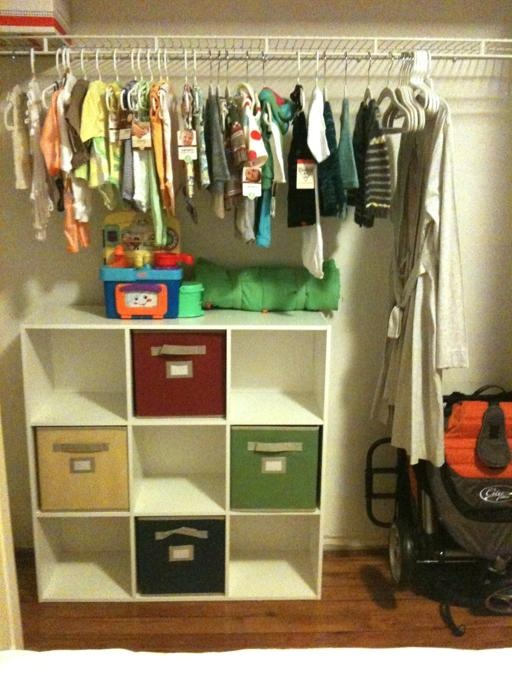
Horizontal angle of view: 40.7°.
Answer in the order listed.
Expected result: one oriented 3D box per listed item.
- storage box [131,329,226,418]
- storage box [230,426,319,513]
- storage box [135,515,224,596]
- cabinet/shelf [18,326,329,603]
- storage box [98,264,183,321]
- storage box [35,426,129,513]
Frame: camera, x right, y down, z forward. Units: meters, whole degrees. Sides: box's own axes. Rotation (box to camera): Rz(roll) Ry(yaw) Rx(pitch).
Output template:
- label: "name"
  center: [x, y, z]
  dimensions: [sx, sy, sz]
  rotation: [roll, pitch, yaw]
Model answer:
- label: "storage box"
  center: [-0.279, 0.106, 2.495]
  dimensions: [0.296, 0.311, 0.318]
  rotation: [0, 8, -3]
- label: "storage box"
  center: [0.056, 0.441, 2.570]
  dimensions: [0.308, 0.304, 0.304]
  rotation: [1, 7, -4]
- label: "storage box"
  center: [-0.255, 0.755, 2.549]
  dimensions: [0.304, 0.305, 0.302]
  rotation: [1, 3, 9]
- label: "cabinet/shelf"
  center: [-0.307, 0.425, 2.510]
  dimensions: [0.932, 0.893, 0.335]
  rotation: [-1, 12, -5]
- label: "storage box"
  center: [-0.388, -0.162, 2.258]
  dimensions: [0.264, 0.175, 0.184]
  rotation: [0, 21, -6]
- label: "storage box"
  center: [-0.612, 0.439, 2.521]
  dimensions: [0.319, 0.306, 0.249]
  rotation: [-1, 9, -7]
